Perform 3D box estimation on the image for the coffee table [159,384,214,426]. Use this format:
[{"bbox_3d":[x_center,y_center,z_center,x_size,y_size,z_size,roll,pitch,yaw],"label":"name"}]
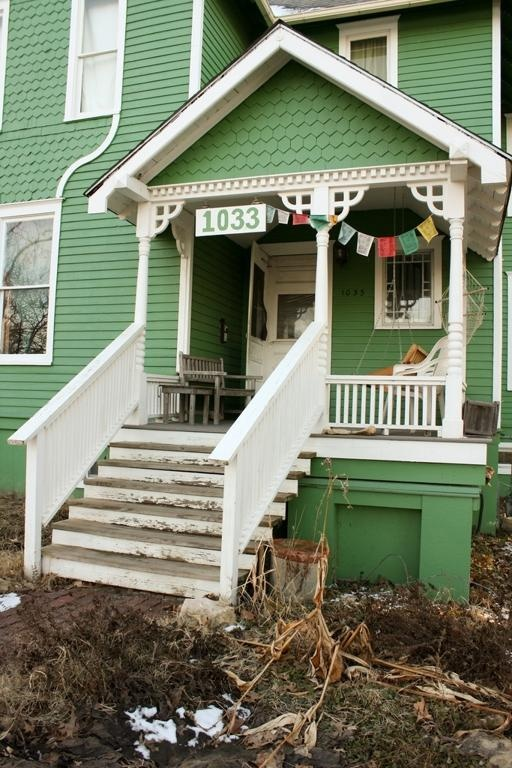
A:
[{"bbox_3d":[-0.719,0.224,7.772,0.507,0.421,1.475,4,2,7],"label":"coffee table"}]
